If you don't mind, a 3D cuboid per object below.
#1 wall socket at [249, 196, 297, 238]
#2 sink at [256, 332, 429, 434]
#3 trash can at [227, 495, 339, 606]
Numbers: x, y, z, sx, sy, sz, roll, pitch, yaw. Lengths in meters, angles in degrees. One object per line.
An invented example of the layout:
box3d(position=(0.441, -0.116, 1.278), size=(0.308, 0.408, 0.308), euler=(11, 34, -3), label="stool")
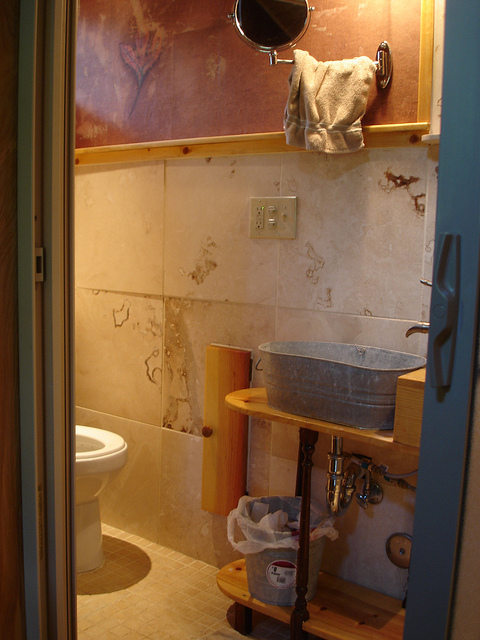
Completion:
box3d(position=(0.101, -0.322, 1.672), size=(0.168, 0.125, 0.019), euler=(9, 8, 37), label="wall socket")
box3d(position=(0.251, 0.142, 1.372), size=(0.415, 0.153, 0.407), euler=(8, 8, 28), label="sink")
box3d(position=(0.120, 0.648, 1.537), size=(0.250, 0.264, 0.262), euler=(-5, -3, -27), label="trash can")
